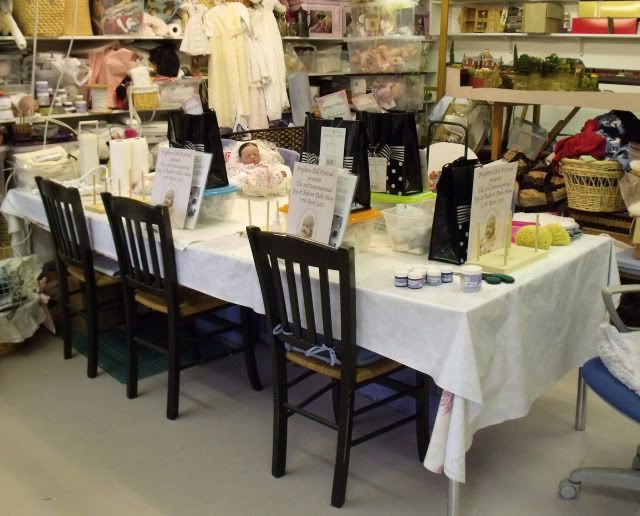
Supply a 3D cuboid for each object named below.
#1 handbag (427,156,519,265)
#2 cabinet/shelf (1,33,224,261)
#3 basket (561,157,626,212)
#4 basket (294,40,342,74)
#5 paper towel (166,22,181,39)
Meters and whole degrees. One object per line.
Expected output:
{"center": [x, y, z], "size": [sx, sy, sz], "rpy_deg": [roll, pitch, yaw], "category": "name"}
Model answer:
{"center": [0.541, -0.153, 1.845], "size": [0.138, 0.366, 0.346], "rpy_deg": [18, 23, 42], "category": "handbag"}
{"center": [-1.374, -0.707, 3.208], "size": [1.523, 1.232, 1.188], "rpy_deg": [10, 17, 35], "category": "cabinet/shelf"}
{"center": [1.714, -0.454, 3.347], "size": [0.321, 0.276, 0.344], "rpy_deg": [-2, 11, -14], "category": "basket"}
{"center": [0.025, -2.395, 6.250], "size": [0.429, 0.296, 0.439], "rpy_deg": [12, 21, 33], "category": "basket"}
{"center": [-1.344, -2.092, 4.810], "size": [0.119, 0.151, 0.157], "rpy_deg": [-7, 13, -26], "category": "paper towel"}
